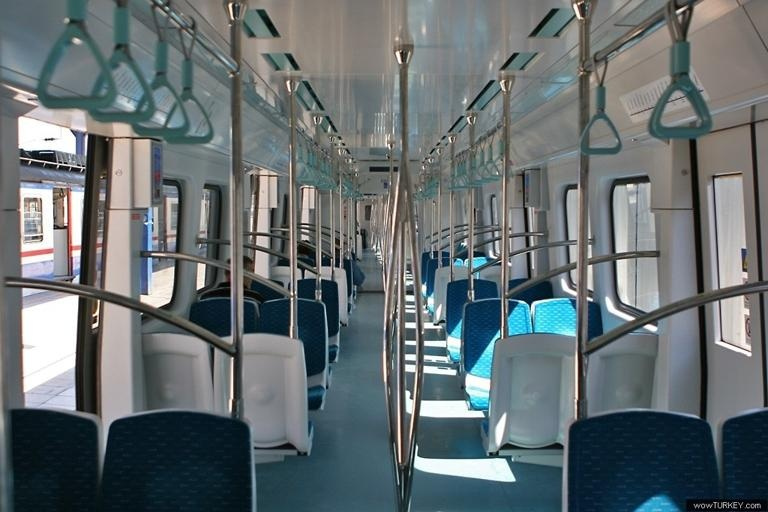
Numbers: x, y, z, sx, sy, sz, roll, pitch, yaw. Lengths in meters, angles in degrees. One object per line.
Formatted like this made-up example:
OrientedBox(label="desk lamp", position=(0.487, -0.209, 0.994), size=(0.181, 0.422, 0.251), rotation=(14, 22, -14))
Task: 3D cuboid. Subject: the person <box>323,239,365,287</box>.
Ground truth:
OrientedBox(label="person", position=(-0.734, 0.203, 11.914), size=(0.684, 1.164, 0.647), rotation=(11, -26, -23))
